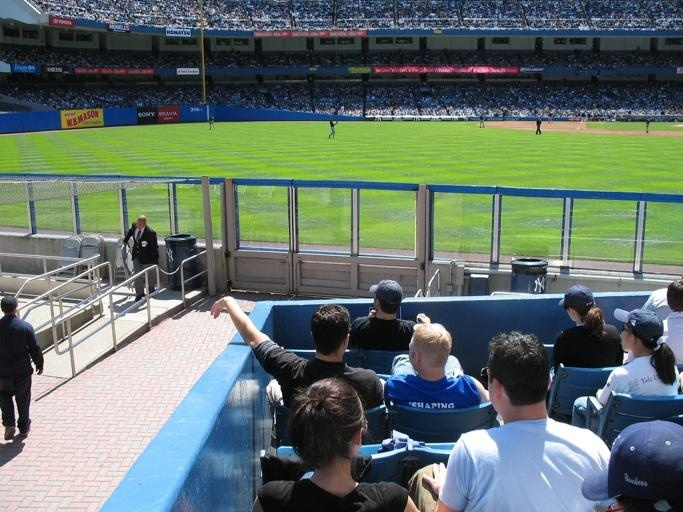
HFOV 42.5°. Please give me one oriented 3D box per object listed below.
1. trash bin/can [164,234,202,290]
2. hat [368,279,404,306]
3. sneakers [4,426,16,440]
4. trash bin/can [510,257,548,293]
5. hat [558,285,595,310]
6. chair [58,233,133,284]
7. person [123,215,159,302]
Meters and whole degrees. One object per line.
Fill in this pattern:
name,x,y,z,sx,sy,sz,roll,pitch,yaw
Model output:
trash bin/can,-3.206,0.093,17.585,0.640,1.056,0.830,-16,22,-40
hat,0.517,0.424,10.564,0.258,0.205,0.346,-4,18,-30
sneakers,-4.709,2.499,12.414,0.098,0.245,0.103,17,9,-38
trash bin/can,3.277,0.367,15.254,0.692,0.689,0.663,4,15,30
hat,2.858,0.491,10.588,0.333,0.269,0.369,3,8,7
chair,-4.944,0.081,17.657,0.981,0.642,0.353,0,16,-3
person,-3.811,0.048,16.865,0.440,1.649,0.946,-5,10,-38
